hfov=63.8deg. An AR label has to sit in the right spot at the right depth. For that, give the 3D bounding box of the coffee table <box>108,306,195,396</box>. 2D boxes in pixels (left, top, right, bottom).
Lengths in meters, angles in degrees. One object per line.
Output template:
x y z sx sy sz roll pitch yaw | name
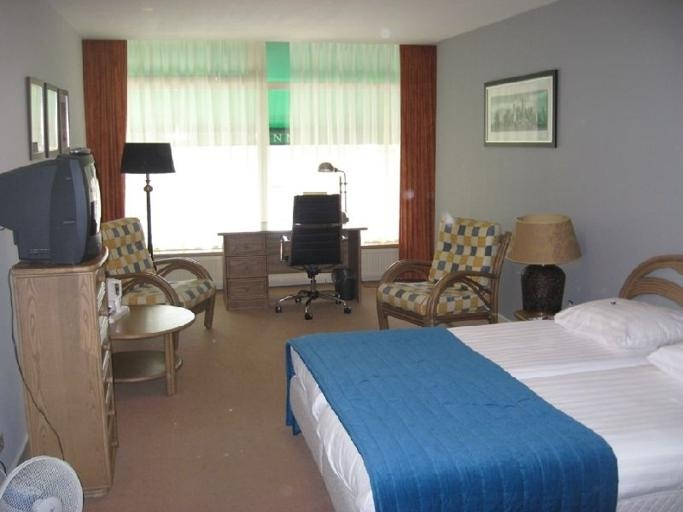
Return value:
-1.430 0.739 4.308 0.654 0.472 0.686 -3 13 -17 | coffee table

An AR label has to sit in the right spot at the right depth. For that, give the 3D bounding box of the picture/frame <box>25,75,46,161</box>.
-2.387 -1.070 4.304 0.026 0.617 0.396 -4 15 -43 | picture/frame

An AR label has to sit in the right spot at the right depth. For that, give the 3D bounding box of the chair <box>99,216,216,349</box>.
-1.844 0.178 5.526 1.062 1.311 0.886 3 9 7 | chair

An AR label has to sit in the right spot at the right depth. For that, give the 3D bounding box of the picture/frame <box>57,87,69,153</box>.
-2.713 -1.305 5.352 0.040 0.662 0.437 -5 12 -42 | picture/frame
